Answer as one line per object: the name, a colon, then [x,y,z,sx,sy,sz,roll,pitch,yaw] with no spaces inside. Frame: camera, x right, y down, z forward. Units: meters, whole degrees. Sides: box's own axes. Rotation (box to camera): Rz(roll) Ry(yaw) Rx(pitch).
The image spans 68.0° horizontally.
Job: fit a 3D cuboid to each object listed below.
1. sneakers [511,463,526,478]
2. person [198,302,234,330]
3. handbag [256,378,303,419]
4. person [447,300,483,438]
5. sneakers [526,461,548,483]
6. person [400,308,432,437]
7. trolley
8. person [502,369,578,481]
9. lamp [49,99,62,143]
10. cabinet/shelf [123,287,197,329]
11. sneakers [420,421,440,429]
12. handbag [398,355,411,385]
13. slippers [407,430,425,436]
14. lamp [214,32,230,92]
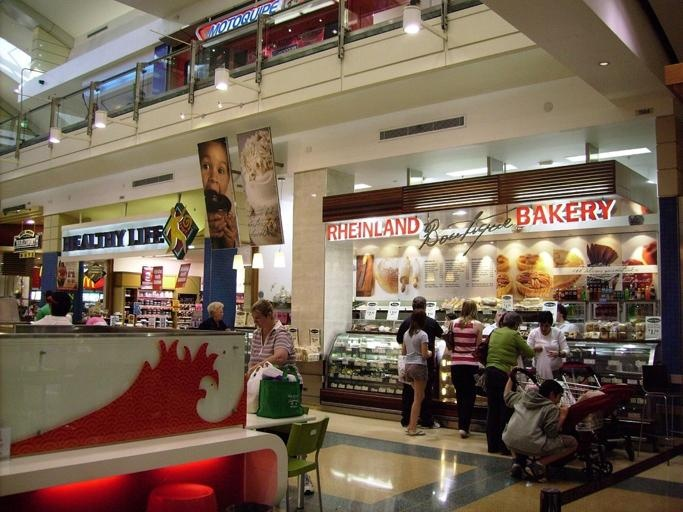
sneakers: [1.885,2.307,5.469,0.152,0.144,0.111,0,-2,-7]
person: [-1.696,0.790,6.687,0.308,0.369,1.666,1,-6,-15]
handbag: [-0.578,1.204,4.375,0.565,0.392,0.302,11,-21,-41]
person: [1.773,1.598,7.264,0.470,1.902,0.366,-2,-6,21]
sneakers: [2.059,2.302,5.403,0.122,0.166,0.286,-2,-40,43]
person: [1.074,1.680,7.347,0.444,1.760,0.278,-3,-6,23]
trolley: [2.336,1.800,5.711,1.294,1.134,1.053,1,-8,-21]
person: [2.084,1.854,5.443,0.658,1.033,0.610,5,-8,-39]
lamp: [-7.438,-3.565,13.126,0.335,0.982,0.329,2,-1,-37]
cabinet/shelf: [-5.616,1.644,16.367,2.492,1.297,4.836,2,-6,-23]
sneakers: [1.345,2.549,7.714,0.286,0.120,0.122,0,-1,-16]
handbag: [0.898,1.675,7.468,0.127,0.343,0.343,4,-5,1]
slippers: [1.079,2.529,7.309,0.284,0.069,0.236,0,-6,3]
lamp: [-1.921,-3.000,8.259,0.221,0.218,0.595,8,-23,-3]
